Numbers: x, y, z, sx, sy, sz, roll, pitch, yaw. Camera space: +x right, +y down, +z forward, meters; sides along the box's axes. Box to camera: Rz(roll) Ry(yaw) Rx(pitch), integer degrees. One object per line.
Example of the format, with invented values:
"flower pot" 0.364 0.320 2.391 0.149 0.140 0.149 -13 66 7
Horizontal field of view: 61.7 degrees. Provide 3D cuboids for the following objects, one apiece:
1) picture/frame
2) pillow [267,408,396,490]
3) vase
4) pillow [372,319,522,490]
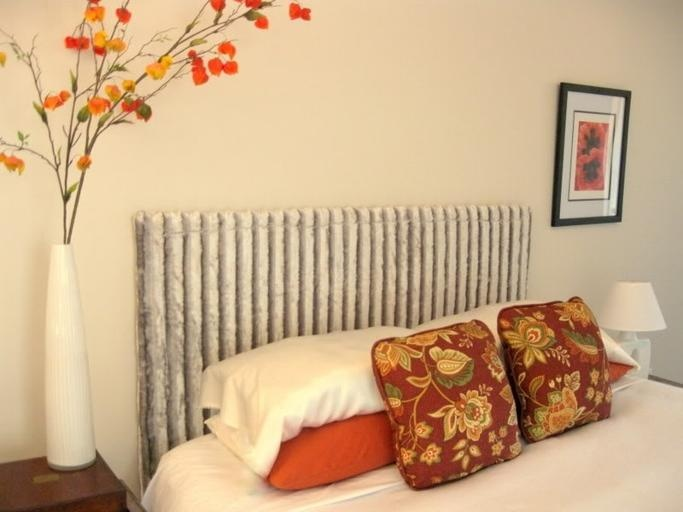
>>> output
"picture/frame" 1.438 -0.609 3.321 0.811 1.055 0.038 0 5 -38
"pillow" -0.046 0.642 1.962 0.573 0.191 0.178 -5 -2 -29
"vase" -0.904 0.337 1.884 0.144 0.743 0.112 -1 9 -20
"pillow" 0.325 0.527 1.957 0.497 0.491 0.154 -9 -12 -29
